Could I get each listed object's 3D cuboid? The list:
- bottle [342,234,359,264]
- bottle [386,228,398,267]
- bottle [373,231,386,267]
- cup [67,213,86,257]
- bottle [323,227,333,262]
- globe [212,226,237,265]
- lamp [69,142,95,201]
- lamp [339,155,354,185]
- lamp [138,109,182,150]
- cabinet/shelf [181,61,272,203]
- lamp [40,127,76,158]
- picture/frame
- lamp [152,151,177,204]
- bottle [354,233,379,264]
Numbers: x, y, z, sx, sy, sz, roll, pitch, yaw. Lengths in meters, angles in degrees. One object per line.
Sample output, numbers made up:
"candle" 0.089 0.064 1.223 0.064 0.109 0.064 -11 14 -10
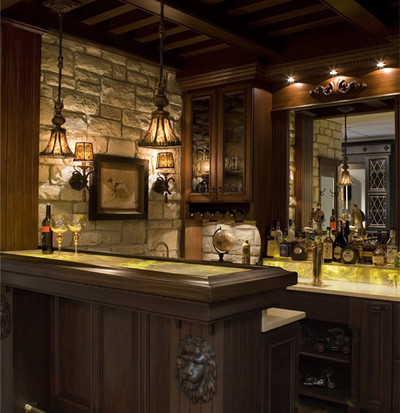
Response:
"bottle" 1.304 0.401 3.475 0.141 0.207 0.104 1 1 -12
"bottle" 1.569 0.341 3.269 0.078 0.293 0.069 1 1 12
"bottle" 1.504 0.358 3.354 0.105 0.277 0.154 1 1 26
"cup" -0.774 0.175 2.495 0.093 0.279 0.108 13 14 37
"bottle" 1.165 0.346 3.619 0.078 0.310 0.156 2 2 31
"globe" 0.177 0.288 3.047 0.155 0.275 0.164 7 1 -28
"lamp" -1.021 -0.324 3.455 0.210 0.469 0.348 0 1 -16
"lamp" 1.311 -0.314 3.594 0.046 0.270 0.130 0 2 -32
"lamp" -0.210 -0.396 2.223 0.203 0.253 0.204 -1 0 5
"cabinet/shelf" 0.188 -0.706 4.212 0.815 1.362 0.373 0 23 6
"lamp" -1.016 -0.435 2.879 0.214 0.240 0.210 0 -1 -9
"picture/frame" -0.799 -0.183 3.783 0.046 0.624 0.604 -4 -7 39
"lamp" -0.386 -0.300 4.157 0.238 0.532 0.527 1 1 -4
"bottle" 1.398 0.383 3.457 0.195 0.241 0.201 3 -6 -30
